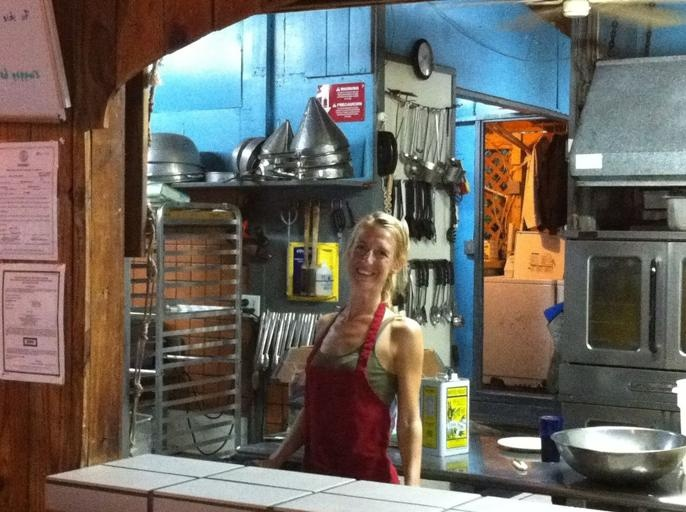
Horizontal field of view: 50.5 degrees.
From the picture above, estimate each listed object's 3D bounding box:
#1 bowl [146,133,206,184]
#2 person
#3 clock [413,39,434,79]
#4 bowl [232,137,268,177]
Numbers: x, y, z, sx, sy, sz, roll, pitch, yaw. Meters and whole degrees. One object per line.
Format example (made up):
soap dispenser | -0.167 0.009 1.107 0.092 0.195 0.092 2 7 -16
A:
bowl | -1.153 -0.694 5.095 0.449 0.344 0.153 -2 2 -39
person | 0.014 0.317 2.648 0.535 0.956 0.413 -1 1 5
clock | 0.600 -1.470 5.418 0.083 0.288 0.345 0 2 25
bowl | -0.658 -0.697 5.043 0.249 0.270 0.272 4 6 0
